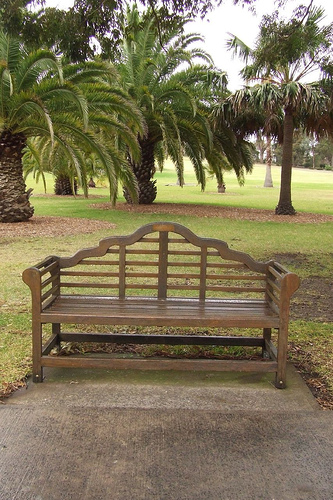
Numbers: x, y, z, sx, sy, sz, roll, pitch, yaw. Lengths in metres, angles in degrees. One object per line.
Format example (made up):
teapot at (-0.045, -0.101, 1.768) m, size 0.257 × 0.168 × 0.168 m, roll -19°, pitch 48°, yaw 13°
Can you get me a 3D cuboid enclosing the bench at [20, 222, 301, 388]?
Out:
bench at (-0.075, 0.533, 4.263) m, size 1.896 × 1.056 × 0.625 m, roll 0°, pitch 7°, yaw 0°
